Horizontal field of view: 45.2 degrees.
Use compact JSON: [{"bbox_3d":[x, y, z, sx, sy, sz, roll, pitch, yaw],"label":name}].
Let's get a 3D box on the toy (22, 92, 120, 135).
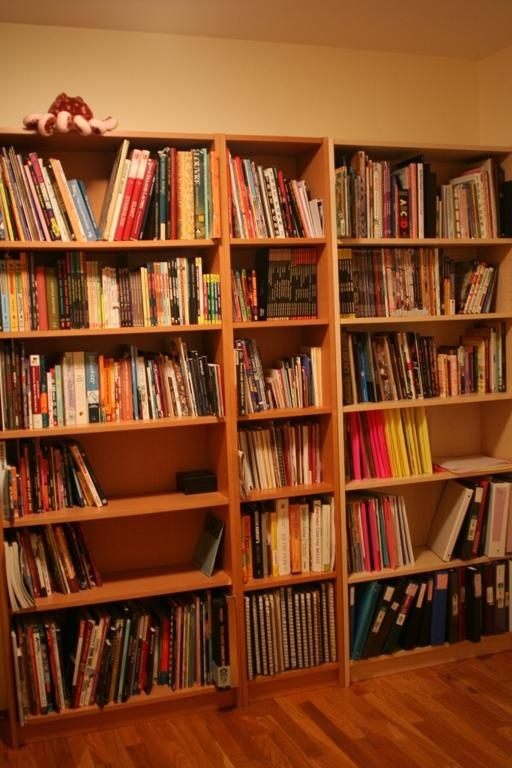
[{"bbox_3d":[-0.571,-0.812,1.883,0.187,0.084,0.198,6,14,20],"label":"toy"}]
